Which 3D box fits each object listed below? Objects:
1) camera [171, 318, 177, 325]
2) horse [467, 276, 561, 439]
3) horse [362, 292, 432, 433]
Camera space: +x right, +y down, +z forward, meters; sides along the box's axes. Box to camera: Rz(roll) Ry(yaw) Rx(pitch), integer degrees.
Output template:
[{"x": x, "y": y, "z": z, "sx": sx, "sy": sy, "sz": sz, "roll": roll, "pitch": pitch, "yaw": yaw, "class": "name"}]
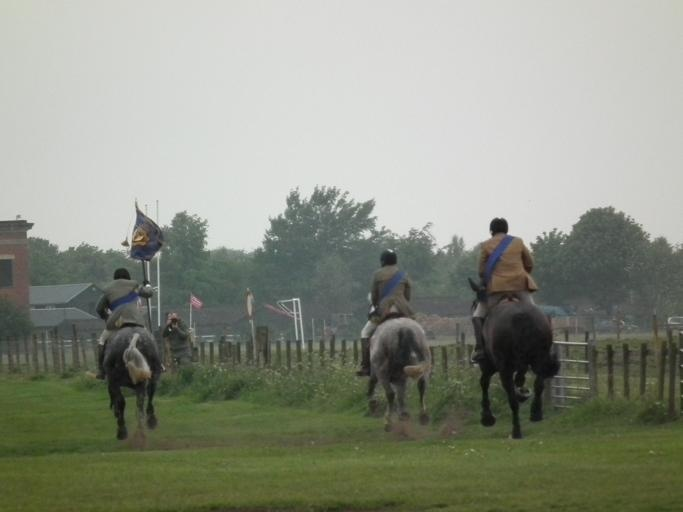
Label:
[{"x": -6.223, "y": 2.565, "z": 51.544, "sx": 0.087, "sy": 0.275, "sz": 0.323, "roll": -6, "pitch": -8, "yaw": 35, "class": "camera"}, {"x": 4.825, "y": 2.965, "z": 38.896, "sx": 1.813, "sy": 4.639, "sz": 2.276, "roll": 1, "pitch": -7, "yaw": -21, "class": "horse"}, {"x": 1.728, "y": 3.638, "z": 41.401, "sx": 1.658, "sy": 3.403, "sz": 2.629, "roll": 0, "pitch": -7, "yaw": -9, "class": "horse"}]
